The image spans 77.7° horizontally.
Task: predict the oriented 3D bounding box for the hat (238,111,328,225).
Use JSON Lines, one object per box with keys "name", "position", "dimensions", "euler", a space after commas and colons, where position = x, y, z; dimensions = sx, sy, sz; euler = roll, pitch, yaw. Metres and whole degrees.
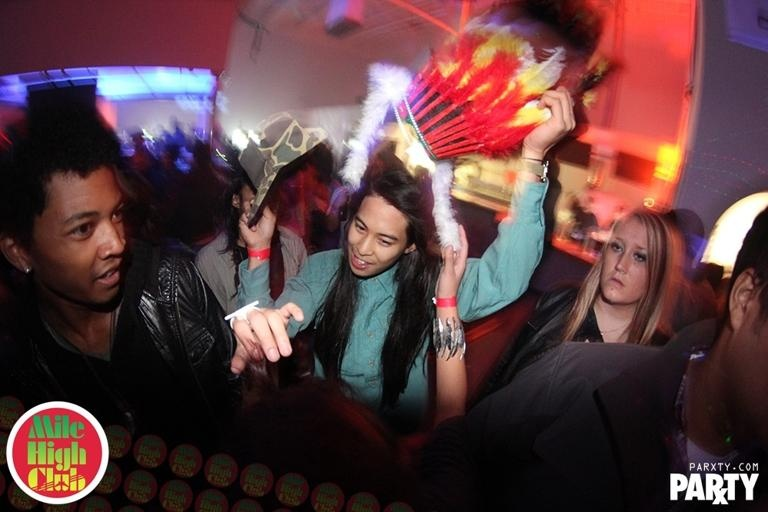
{"name": "hat", "position": [-0.400, -0.349, 1.938], "dimensions": [0.131, 0.336, 0.281], "euler": [33, 21, -8]}
